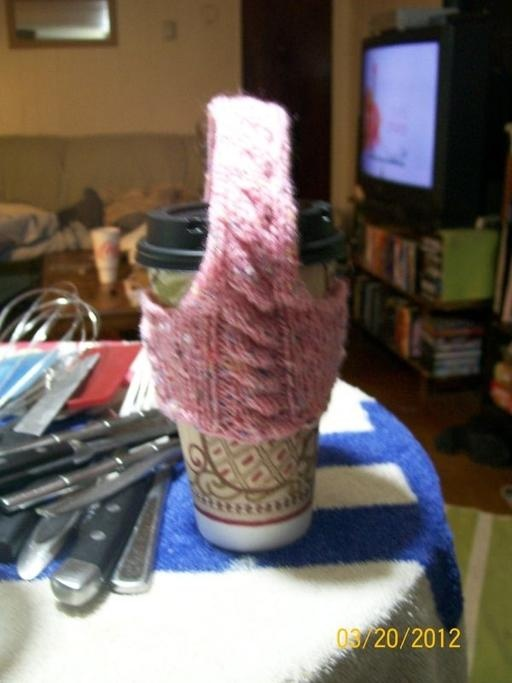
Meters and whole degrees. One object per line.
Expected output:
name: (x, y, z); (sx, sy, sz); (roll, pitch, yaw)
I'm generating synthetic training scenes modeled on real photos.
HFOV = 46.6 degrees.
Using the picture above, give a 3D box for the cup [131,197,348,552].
cup: (0.005, -0.010, 0.316); (0.121, 0.174, 0.120); (-5, 22, 2)

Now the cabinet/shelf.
cabinet/shelf: (0.342, -0.136, 1.315); (0.128, 0.347, 0.401); (-7, 21, -15)
